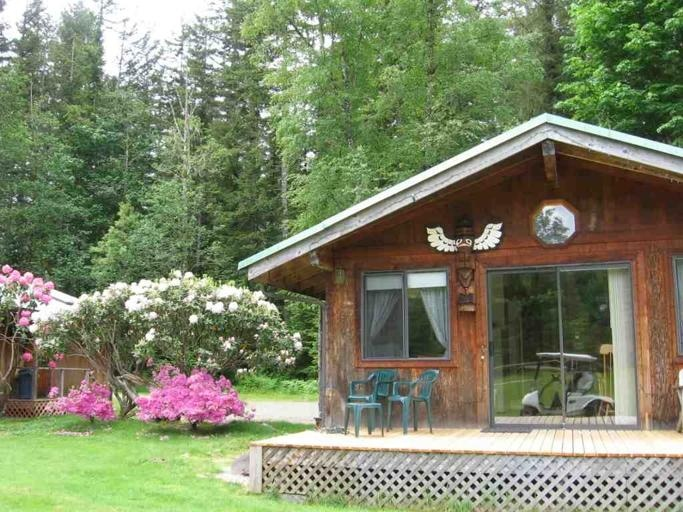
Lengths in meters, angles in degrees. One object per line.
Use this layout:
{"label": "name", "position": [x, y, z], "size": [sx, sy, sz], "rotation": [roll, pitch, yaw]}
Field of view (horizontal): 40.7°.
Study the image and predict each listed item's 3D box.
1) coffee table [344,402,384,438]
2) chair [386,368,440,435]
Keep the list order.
{"label": "coffee table", "position": [0.444, 3.767, 21.539], "size": [0.895, 0.688, 0.944], "rotation": [-3, 0, -12]}
{"label": "chair", "position": [1.659, 3.522, 21.800], "size": [1.278, 1.988, 1.289], "rotation": [6, -10, -30]}
